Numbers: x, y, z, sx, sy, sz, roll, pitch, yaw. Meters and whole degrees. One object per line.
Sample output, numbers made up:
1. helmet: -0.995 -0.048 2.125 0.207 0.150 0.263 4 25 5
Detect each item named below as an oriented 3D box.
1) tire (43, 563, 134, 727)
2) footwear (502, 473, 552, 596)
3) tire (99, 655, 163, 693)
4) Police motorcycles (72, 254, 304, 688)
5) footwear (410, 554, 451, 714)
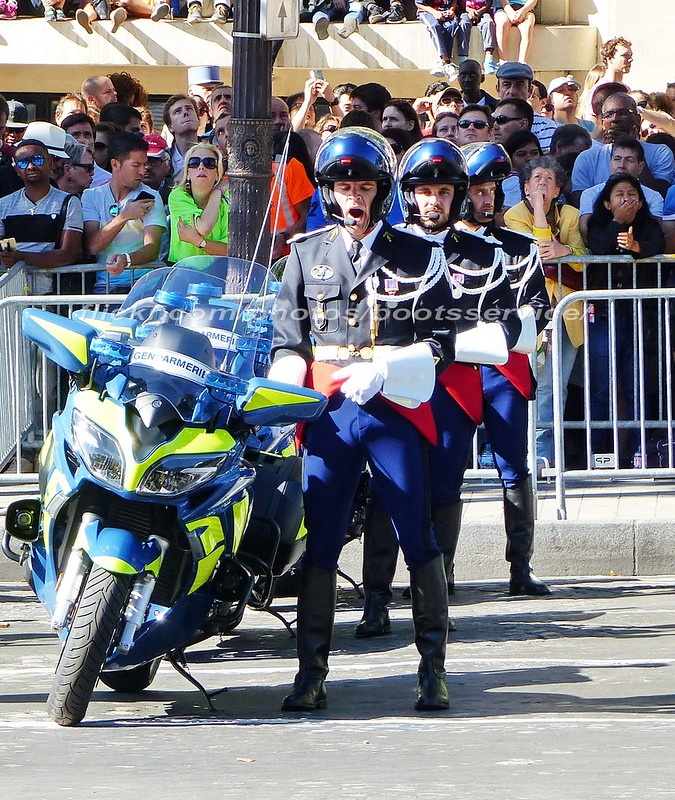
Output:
1. tire: -0.761 0.759 5.391 0.107 0.495 0.460 26 16 -1
2. footwear: 0.878 0.641 7.958 0.231 0.514 0.147 -2 -3 30
3. tire: -0.688 0.911 5.745 0.223 0.105 0.288 -3 -11 -8
4. Police motorcycles: -0.519 0.290 5.736 0.887 1.522 0.951 2 3 -17
5. footwear: 0.313 0.772 5.784 0.146 0.502 0.248 3 3 3
